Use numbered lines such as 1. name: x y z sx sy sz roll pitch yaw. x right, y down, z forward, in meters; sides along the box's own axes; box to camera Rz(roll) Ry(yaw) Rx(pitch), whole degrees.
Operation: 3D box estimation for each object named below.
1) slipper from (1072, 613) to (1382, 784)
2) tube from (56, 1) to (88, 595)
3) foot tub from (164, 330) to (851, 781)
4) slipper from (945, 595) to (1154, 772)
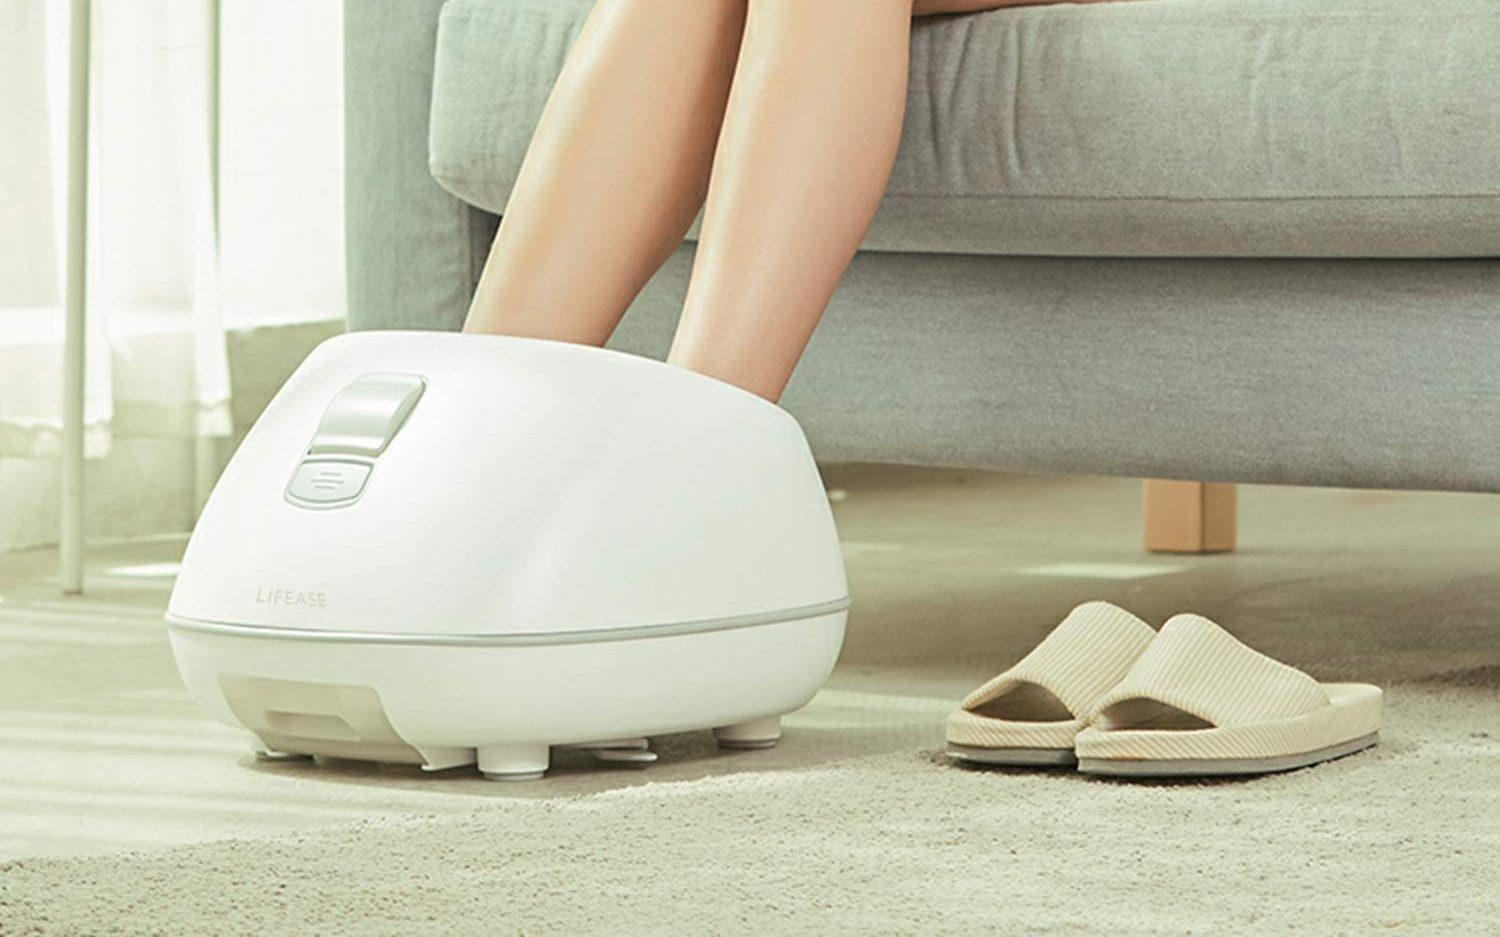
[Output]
1. slipper: 0.350 0.163 1.111 0.293 0.082 0.143 -1 -2 -36
2. tube: -0.754 -0.201 1.730 0.023 0.626 0.370 0 15 -23
3. foot tub: -0.249 0.047 1.232 0.603 0.291 0.564 2 2 -35
4. slipper: 0.227 0.159 1.117 0.185 0.055 0.094 -9 13 -43
